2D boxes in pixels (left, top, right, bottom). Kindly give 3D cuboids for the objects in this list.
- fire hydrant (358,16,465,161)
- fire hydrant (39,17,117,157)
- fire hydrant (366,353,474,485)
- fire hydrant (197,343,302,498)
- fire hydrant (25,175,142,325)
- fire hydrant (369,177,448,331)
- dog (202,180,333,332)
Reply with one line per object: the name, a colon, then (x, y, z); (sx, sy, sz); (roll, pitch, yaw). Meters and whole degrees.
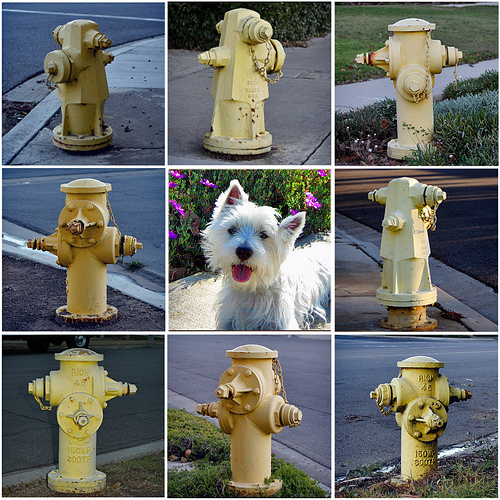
fire hydrant: (1.944, -1.889, 11.156); (1.052, 1.670, 0.458); (1, 12, 10)
fire hydrant: (-1.990, -1.897, 11.152); (0.789, 1.613, 0.794); (-3, 11, -7)
fire hydrant: (1.675, 1.740, 9.594); (0.683, 1.273, 0.357); (3, 12, 22)
fire hydrant: (0.039, 1.685, 9.274); (0.835, 1.467, 0.522); (-4, 12, -12)
fire hydrant: (-1.736, 0.012, 10.072); (1.039, 1.557, 0.414); (-4, 12, -12)
fire hydrant: (1.720, 0.043, 10.111); (0.757, 1.654, 0.498); (0, 11, 8)
dog: (0.307, 0.060, 10.326); (0.915, 1.707, 1.464); (8, 14, 38)
